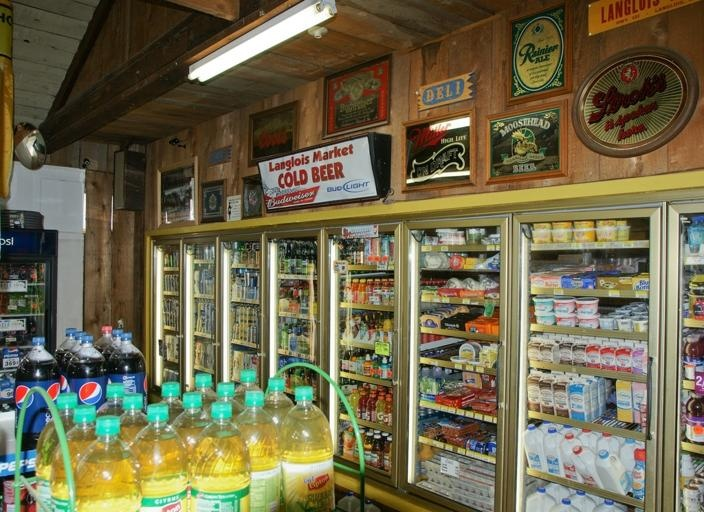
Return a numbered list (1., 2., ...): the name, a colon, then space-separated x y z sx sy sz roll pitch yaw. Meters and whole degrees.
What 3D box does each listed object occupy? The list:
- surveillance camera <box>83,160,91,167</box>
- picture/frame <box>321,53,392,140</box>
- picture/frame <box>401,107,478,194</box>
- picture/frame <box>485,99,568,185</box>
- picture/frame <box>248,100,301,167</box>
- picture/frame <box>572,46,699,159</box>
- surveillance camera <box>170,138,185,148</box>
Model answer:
1. surveillance camera: -3.739 -1.315 7.544 0.043 0.105 0.110 -2 -2 0
2. picture/frame: 0.044 -1.410 4.776 0.034 0.571 0.854 -3 4 -42
3. picture/frame: 0.702 -0.822 4.158 0.789 0.633 0.061 -3 -6 45
4. picture/frame: 1.228 -0.789 3.688 0.708 0.564 0.074 2 1 43
5. picture/frame: -0.779 -1.264 5.484 0.075 0.594 0.899 -1 1 -38
6. picture/frame: 1.746 -0.935 3.238 0.064 0.590 0.603 -1 37 -51
7. surveillance camera: -2.280 -1.485 6.943 0.127 0.055 0.220 4 -4 10
